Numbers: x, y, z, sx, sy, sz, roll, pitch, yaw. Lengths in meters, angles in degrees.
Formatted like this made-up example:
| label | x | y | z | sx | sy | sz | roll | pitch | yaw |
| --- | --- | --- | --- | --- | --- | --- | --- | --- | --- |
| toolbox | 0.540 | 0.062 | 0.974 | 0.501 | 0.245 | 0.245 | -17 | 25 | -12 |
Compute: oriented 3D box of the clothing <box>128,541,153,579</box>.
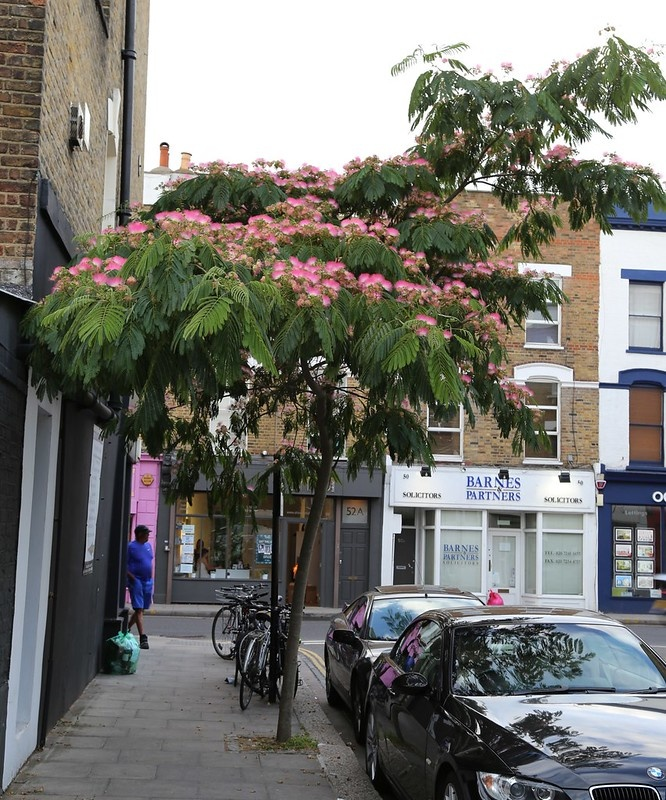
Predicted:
| label | x | y | z | sx | sy | sz | roll | pitch | yaw |
| --- | --- | --- | --- | --- | --- | --- | --- | --- | --- |
| clothing | -2.956 | 2.420 | 13.200 | 0.232 | 0.489 | 0.391 | -17 | -21 | 36 |

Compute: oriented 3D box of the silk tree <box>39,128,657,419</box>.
| label | x | y | z | sx | sy | sz | roll | pitch | yaw |
| --- | --- | --- | --- | --- | --- | --- | --- | --- | --- |
| silk tree | -0.192 | -0.761 | 5.940 | 2.665 | 1.748 | 2.984 | 0 | 3 | 24 |

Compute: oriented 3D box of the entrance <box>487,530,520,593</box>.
| label | x | y | z | sx | sy | sz | roll | pitch | yaw |
| --- | --- | --- | --- | --- | --- | --- | --- | --- | --- |
| entrance | 4.851 | 4.634 | 24.927 | 0.873 | 2.054 | 0.142 | 2 | 15 | 13 |

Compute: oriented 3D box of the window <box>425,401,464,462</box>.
| label | x | y | z | sx | sy | sz | roll | pitch | yaw |
| --- | --- | --- | --- | --- | --- | --- | --- | --- | --- |
| window | 3.028 | 0.714 | 23.927 | 0.941 | 2.153 | 0.213 | 1 | 34 | 10 |

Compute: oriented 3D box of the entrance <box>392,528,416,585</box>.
| label | x | y | z | sx | sy | sz | roll | pitch | yaw |
| --- | --- | --- | --- | --- | --- | --- | --- | --- | --- |
| entrance | 1.992 | 4.491 | 24.731 | 0.750 | 0.256 | 2.371 | -8 | 35 | 12 |
